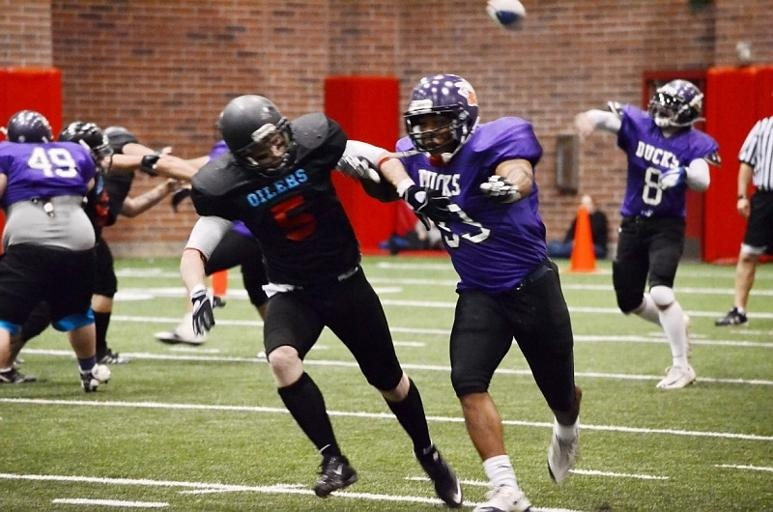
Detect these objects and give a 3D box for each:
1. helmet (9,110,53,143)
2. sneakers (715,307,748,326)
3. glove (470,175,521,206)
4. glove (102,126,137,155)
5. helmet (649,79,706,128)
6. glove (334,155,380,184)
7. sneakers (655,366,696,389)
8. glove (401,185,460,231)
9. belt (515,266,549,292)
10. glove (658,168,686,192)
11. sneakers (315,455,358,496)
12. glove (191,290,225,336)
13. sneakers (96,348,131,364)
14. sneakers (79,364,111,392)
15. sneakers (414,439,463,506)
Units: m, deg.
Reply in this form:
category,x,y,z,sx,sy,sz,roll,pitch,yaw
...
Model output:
category,x,y,z,sx,sy,sz,roll,pitch,yaw
helmet,-3.130,-1.144,9.213,0.362,0.286,0.257,-16,53,-30
sneakers,3.853,0.714,11.915,0.467,0.209,0.153,1,1,-1
glove,0.746,-0.441,6.938,0.202,0.094,0.201,-20,23,-34
glove,-2.648,-1.187,10.595,0.306,0.351,0.390,-4,15,-27
helmet,2.703,-1.378,9.616,0.506,0.391,0.391,17,9,-4
glove,-0.193,-0.594,7.327,0.272,0.119,0.176,22,-8,-11
sneakers,2.640,1.106,9.501,0.424,0.160,0.162,-5,-2,-34
glove,0.289,-0.371,7.111,0.106,0.286,0.285,-40,10,23
belt,1.001,0.141,7.174,0.197,0.057,0.150,-34,-2,8
glove,2.551,-0.685,9.324,0.235,0.240,0.461,2,11,13
sneakers,-0.347,1.507,7.134,0.281,0.251,0.170,-1,11,-2
glove,-1.243,0.397,7.264,0.215,0.293,0.120,-25,-34,28
sneakers,-2.712,1.002,10.445,0.346,0.142,0.113,5,15,-32
sneakers,-2.634,1.089,9.454,0.239,0.263,0.298,-4,12,-17
sneakers,0.382,1.543,7.246,0.189,0.544,0.219,-34,1,6
